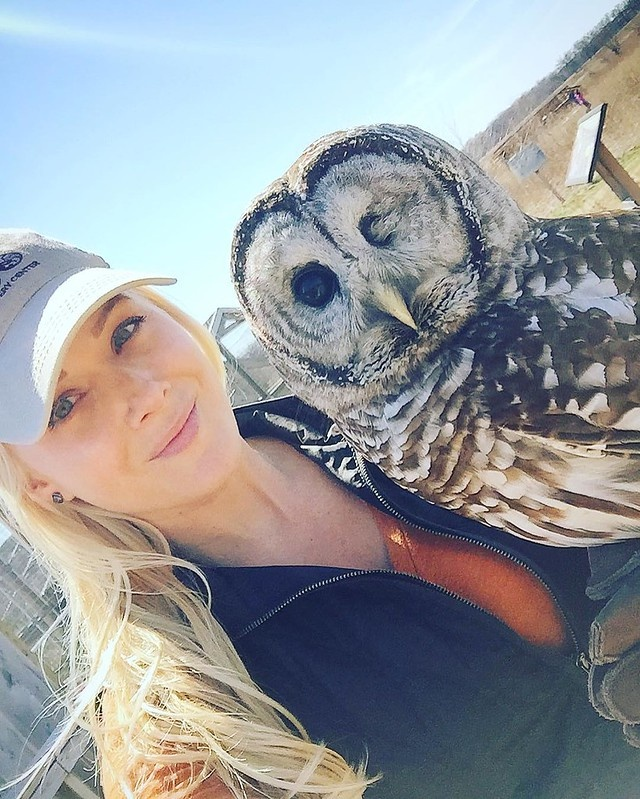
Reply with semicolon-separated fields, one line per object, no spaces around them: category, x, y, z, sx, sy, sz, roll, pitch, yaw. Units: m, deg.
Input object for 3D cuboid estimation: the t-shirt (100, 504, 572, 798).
t-shirt;0.066;0.599;2.256;0.717;0.922;0.461;97;-170;-73
